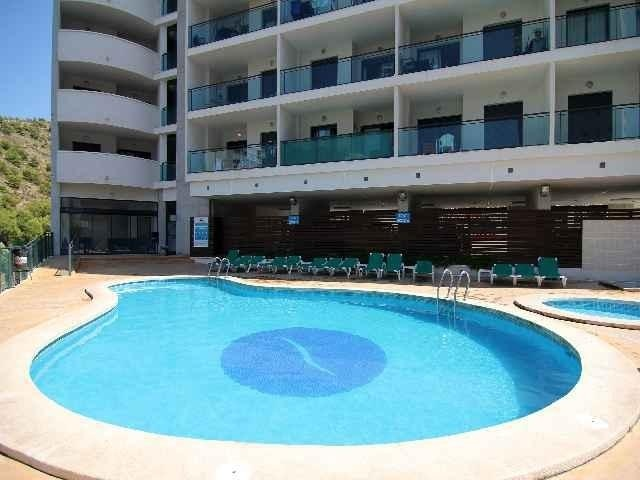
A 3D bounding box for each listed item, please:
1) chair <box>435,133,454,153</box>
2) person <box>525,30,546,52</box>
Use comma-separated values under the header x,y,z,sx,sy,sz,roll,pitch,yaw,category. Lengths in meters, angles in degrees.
x,y,z,sx,sy,sz,roll,pitch,yaw,category
4.085,-3.267,16.772,0.628,0.740,0.566,2,-3,-9,chair
6.955,-6.509,15.989,0.650,0.779,0.274,-1,2,22,person
